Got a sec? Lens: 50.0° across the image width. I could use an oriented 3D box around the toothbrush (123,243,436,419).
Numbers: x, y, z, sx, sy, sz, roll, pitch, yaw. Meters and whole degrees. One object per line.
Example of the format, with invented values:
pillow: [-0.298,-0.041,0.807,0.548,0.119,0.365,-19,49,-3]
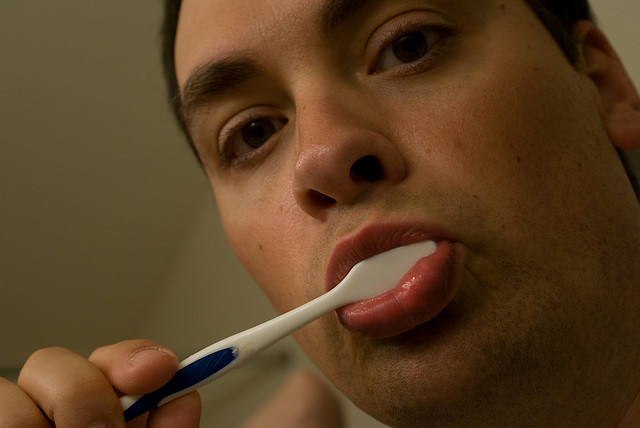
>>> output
toothbrush: [-0.095,0.226,1.303,0.694,0.105,0.060,-30,-31,6]
